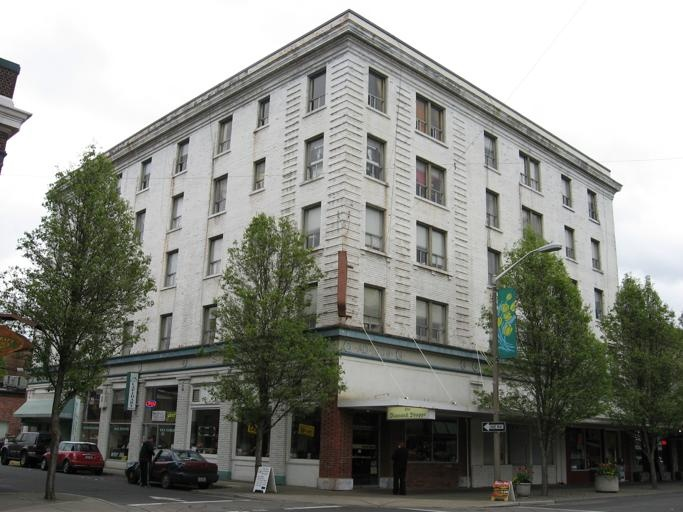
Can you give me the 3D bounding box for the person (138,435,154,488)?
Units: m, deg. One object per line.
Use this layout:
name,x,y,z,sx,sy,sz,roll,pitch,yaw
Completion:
person,-8.929,9.275,29.174,0.597,2.147,1.529,7,-23,-14

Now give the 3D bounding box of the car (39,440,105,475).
car,-14.944,11.432,36.537,2.571,1.794,1.577,-12,-25,29

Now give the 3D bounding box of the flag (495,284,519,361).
flag,7.597,2.945,29.528,0.989,3.278,0.610,-9,-24,23
